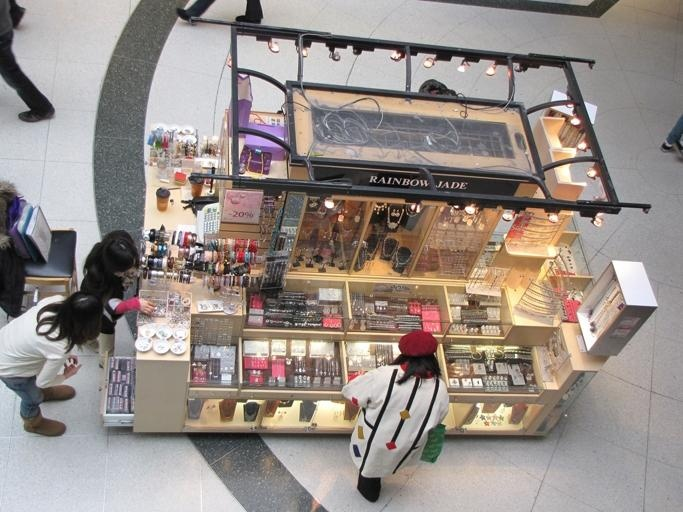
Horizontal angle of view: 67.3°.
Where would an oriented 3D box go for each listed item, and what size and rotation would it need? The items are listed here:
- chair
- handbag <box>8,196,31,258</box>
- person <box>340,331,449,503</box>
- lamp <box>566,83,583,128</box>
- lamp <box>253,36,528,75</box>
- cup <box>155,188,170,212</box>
[{"bbox_3d":[-3.302,0.149,5.898,0.681,0.851,0.880,0,-15,-30],"label":"chair"},{"bbox_3d":[-3.315,-0.274,5.300,0.145,0.701,0.292,0,12,-17],"label":"handbag"},{"bbox_3d":[0.521,1.637,5.159,0.985,1.883,0.859,13,25,0],"label":"person"},{"bbox_3d":[2.673,-1.751,5.883,0.170,0.484,0.448,7,12,15],"label":"lamp"},{"bbox_3d":[0.787,-2.489,6.322,3.825,0.381,0.188,-3,50,-20],"label":"lamp"},{"bbox_3d":[-2.079,-0.651,5.976,0.161,0.239,0.163,12,50,-14],"label":"cup"}]
